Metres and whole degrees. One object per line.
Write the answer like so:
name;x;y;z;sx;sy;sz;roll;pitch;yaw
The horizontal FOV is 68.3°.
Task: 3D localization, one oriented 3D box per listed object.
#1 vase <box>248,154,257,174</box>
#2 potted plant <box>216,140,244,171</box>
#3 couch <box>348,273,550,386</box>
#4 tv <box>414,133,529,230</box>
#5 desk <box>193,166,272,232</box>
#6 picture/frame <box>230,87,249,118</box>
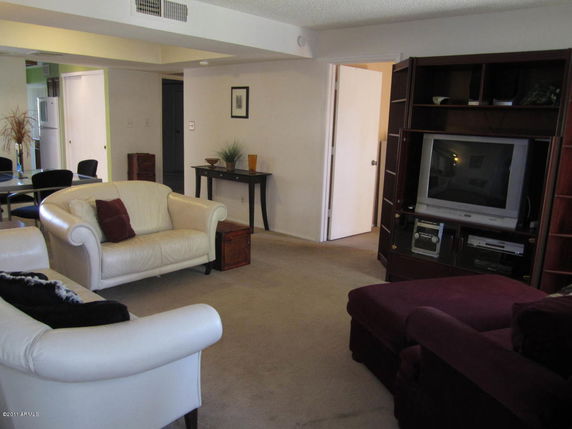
vase;-0.496;-0.763;6.322;0.143;0.278;0.362;-1;15;-4
potted plant;-0.854;-0.867;6.581;0.313;0.336;0.270;0;3;32
couch;1.239;0.837;2.992;1.286;0.601;0.792;-1;11;-5
tv;1.832;-0.316;4.053;0.806;0.720;0.314;14;17;37
desk;-0.889;-0.292;6.559;1.276;0.805;0.415;10;13;33
picture/frame;-0.717;-1.761;6.590;0.446;0.537;0.039;12;16;41
